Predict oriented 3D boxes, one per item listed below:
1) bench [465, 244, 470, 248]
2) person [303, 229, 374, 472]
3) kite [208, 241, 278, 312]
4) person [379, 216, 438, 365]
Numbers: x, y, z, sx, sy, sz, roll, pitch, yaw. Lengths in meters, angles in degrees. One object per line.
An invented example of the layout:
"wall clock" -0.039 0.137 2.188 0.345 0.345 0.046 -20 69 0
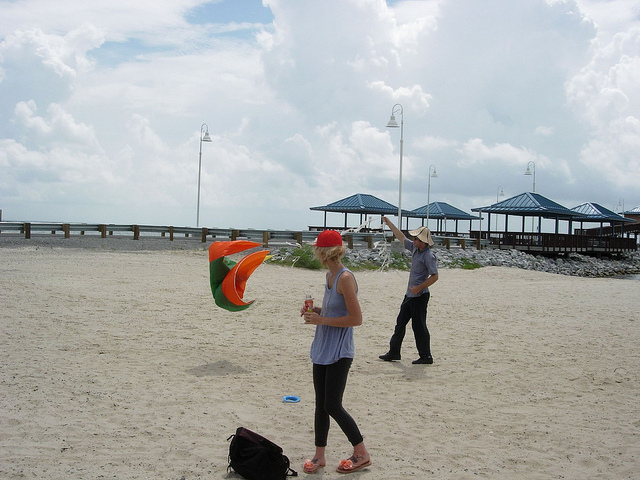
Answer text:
"bench" 9.555 0.407 43.517 0.209 0.220 0.035 5 -20 -29
"person" 0.216 1.377 8.888 0.865 3.119 1.307 3 10 4
"kite" -1.605 0.526 12.970 0.939 1.468 1.024 1 10 -19
"person" 1.679 0.939 11.961 1.231 3.212 1.153 2 7 9
